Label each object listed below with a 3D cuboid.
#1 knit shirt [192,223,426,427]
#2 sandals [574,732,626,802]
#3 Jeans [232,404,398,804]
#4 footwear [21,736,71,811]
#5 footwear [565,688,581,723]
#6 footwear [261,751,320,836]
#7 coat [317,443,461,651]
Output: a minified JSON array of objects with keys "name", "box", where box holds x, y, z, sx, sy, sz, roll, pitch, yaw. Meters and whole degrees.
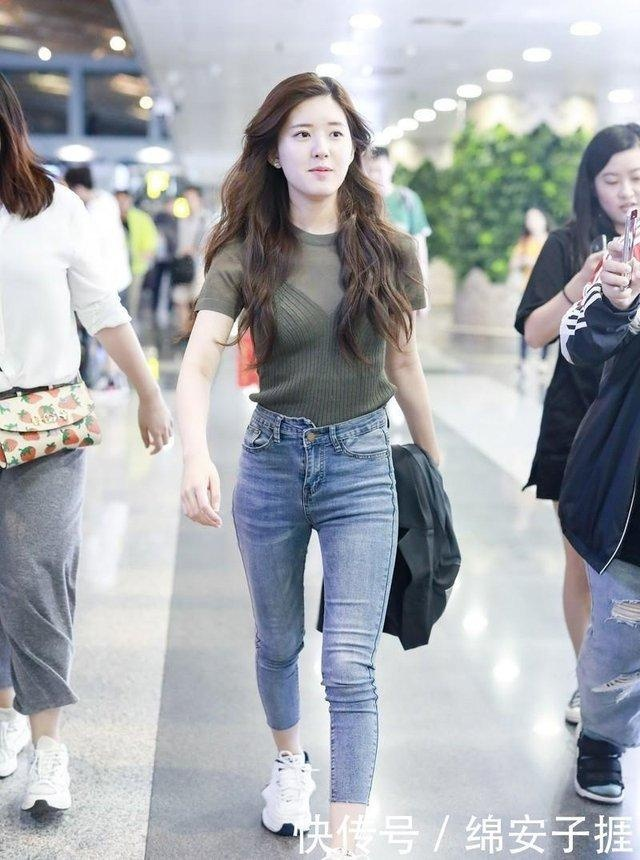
[{"name":"knit shirt","box":[-0.003,-0.179,1.432,0.408,0.326,0.195,0,8,-7]},{"name":"sandals","box":[0.599,0.741,1.816,0.062,0.074,0.179,0,-8,4]},{"name":"Jeans","box":[0.013,0.294,1.412,0.241,0.650,0.411,-3,9,-23]},{"name":"footwear","box":[-0.543,0.698,1.708,0.070,0.078,0.179,0,8,-6]},{"name":"footwear","box":[0.653,0.725,2.207,0.038,0.044,0.113,0,7,6]},{"name":"footwear","box":[-0.058,0.719,1.666,0.074,0.083,0.186,3,5,-1]},{"name":"coat","box":[0.179,0.259,1.720,0.343,0.518,0.373,2,-15,2]}]
